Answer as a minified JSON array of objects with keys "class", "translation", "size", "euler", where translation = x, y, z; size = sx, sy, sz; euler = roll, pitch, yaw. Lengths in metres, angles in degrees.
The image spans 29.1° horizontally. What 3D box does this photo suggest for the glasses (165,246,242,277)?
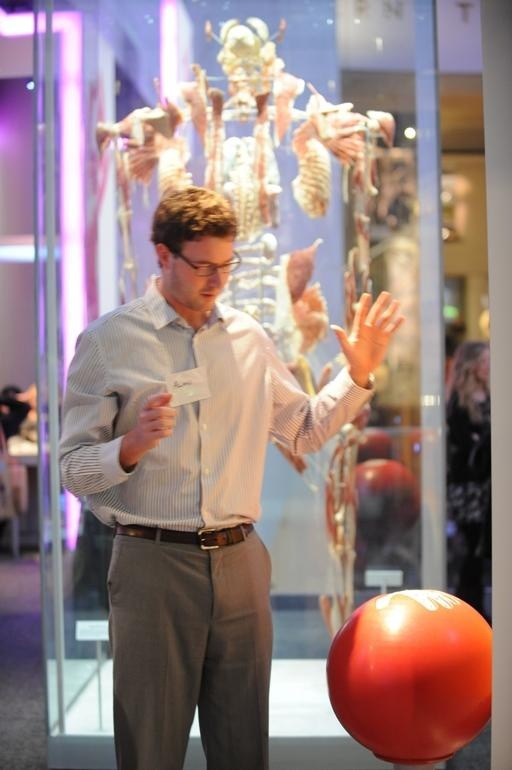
[{"class":"glasses","translation":[-0.120,-0.274,2.225],"size":[0.139,0.059,0.056],"euler":[-1,3,-17]}]
